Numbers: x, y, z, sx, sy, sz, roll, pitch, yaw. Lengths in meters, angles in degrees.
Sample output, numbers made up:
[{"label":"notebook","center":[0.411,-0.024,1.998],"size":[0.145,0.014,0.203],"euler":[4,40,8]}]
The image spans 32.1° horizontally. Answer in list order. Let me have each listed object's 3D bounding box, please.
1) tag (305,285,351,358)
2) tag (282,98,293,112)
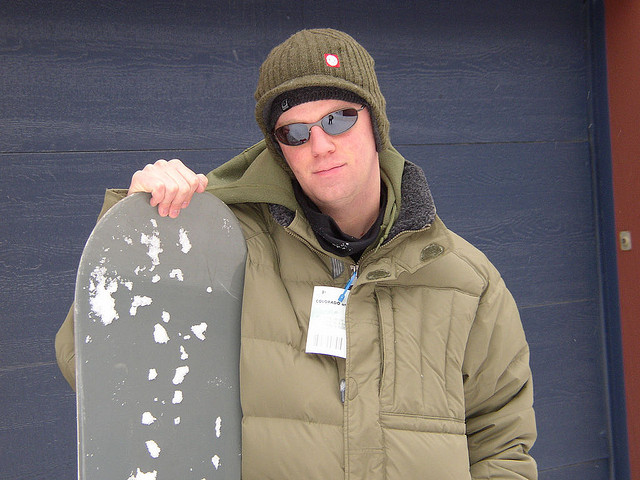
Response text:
[{"label":"tag","center":[0.035,0.302,4.232],"size":[0.192,0.286,0.030],"euler":[11,-9,-33]},{"label":"tag","center":[-0.125,-0.521,4.250],"size":[0.046,0.038,0.012],"euler":[-4,-1,29]}]
